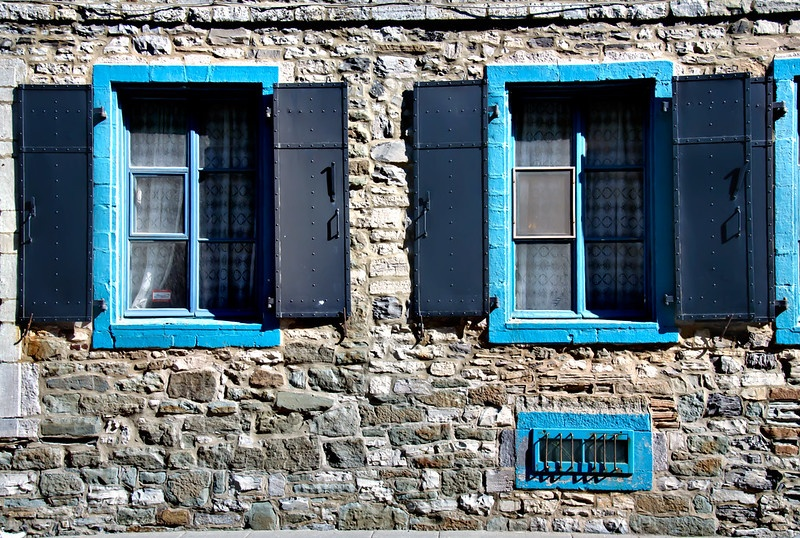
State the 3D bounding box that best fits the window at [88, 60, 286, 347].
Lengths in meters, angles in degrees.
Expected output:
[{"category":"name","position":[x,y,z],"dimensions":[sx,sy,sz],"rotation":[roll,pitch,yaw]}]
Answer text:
[{"category":"window","position":[-1.948,-0.523,15.292],"dimensions":[1.641,2.526,0.432],"rotation":[0,-7,-1]}]
